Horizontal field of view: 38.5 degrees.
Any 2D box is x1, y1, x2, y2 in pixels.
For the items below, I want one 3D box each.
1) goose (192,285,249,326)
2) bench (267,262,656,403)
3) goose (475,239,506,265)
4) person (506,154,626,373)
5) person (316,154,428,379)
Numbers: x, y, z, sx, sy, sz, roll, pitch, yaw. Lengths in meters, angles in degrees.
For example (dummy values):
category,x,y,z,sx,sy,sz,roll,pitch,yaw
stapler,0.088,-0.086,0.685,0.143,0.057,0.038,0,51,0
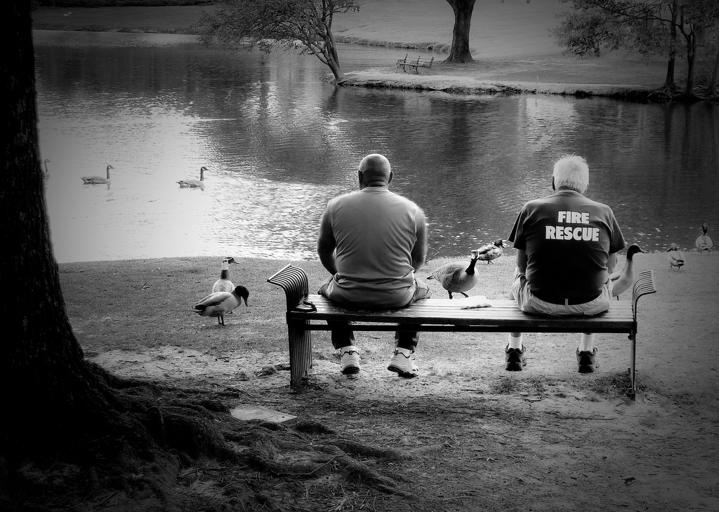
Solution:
category,x,y,z,sx,sy,sz,roll,pitch,yaw
goose,-2.176,0.771,16.585,0.681,0.545,0.961,3,14,12
bench,1.370,0.941,13.234,4.773,1.207,1.055,2,12,-1
goose,2.693,-0.067,20.350,0.980,0.454,0.423,-2,5,2
person,2.620,-0.209,12.891,1.396,1.858,0.711,0,16,5
person,0.199,0.210,13.130,1.392,2.870,0.840,-1,16,0
